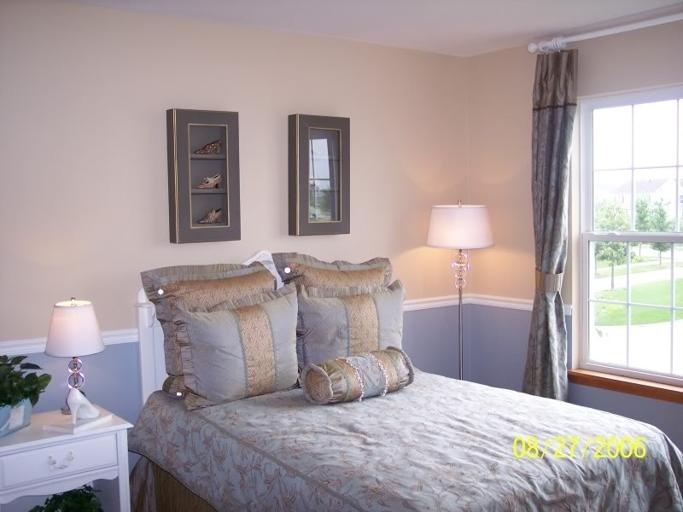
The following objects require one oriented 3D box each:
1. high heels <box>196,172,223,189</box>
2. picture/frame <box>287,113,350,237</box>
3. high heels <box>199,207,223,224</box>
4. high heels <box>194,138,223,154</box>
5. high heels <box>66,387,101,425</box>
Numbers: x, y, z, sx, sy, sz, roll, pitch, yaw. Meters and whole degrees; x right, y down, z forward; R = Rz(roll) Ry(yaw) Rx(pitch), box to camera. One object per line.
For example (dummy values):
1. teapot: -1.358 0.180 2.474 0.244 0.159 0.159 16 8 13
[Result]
1. high heels: -0.865 -0.501 3.348 0.070 0.073 0.166 -3 0 37
2. picture/frame: -0.169 -0.594 3.781 0.510 0.859 0.182 -7 9 -37
3. high heels: -0.854 -0.268 3.374 0.060 0.083 0.185 -3 1 36
4. high heels: -0.865 -0.717 3.334 0.199 0.091 0.069 -3 1 -23
5. high heels: -1.369 0.789 2.686 0.089 0.187 0.253 0 1 8
